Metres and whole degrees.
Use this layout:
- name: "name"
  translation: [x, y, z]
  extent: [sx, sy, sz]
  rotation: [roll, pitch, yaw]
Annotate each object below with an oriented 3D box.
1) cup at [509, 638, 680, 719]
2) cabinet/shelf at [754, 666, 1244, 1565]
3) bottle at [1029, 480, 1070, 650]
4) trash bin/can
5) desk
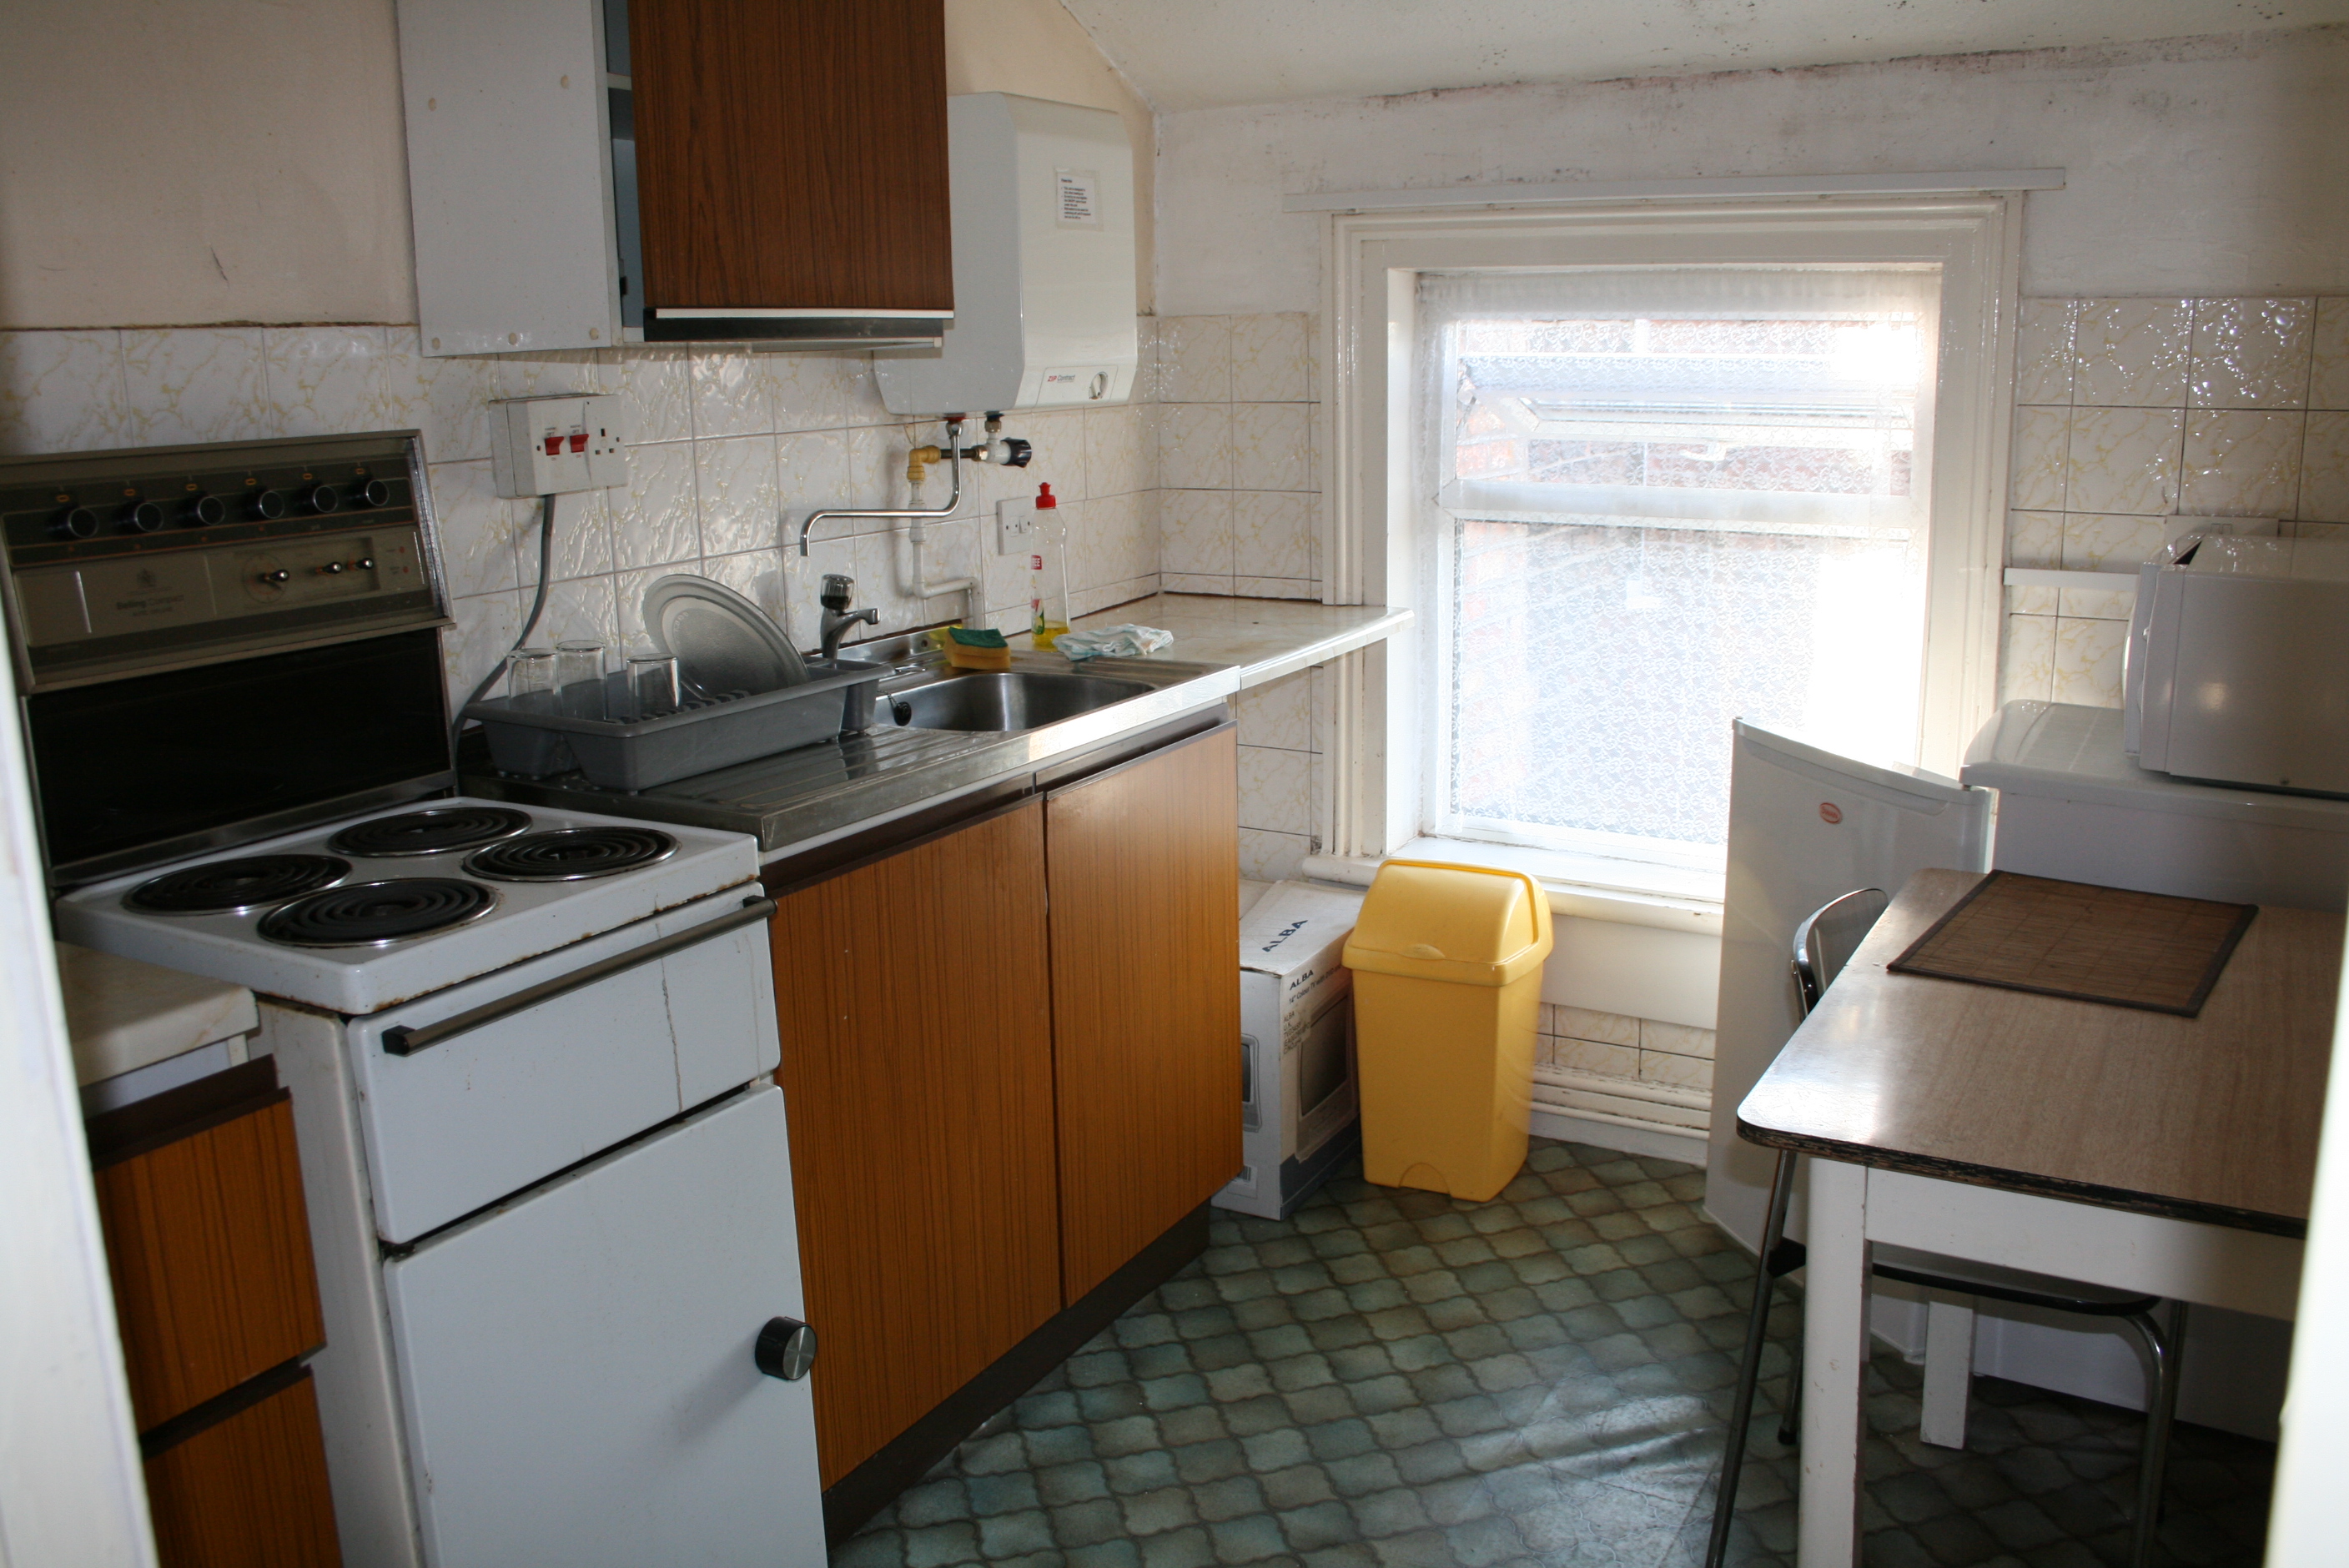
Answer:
- name: "cup"
  translation: [-1.045, -0.200, 3.000]
  extent: [0.303, 0.134, 0.209]
  rotation: [-2, 13, -17]
- name: "cabinet/shelf"
  translation: [-0.514, 0.551, 3.363]
  extent: [0.693, 1.331, 1.433]
  rotation: [7, 15, 33]
- name: "bottle"
  translation: [-0.307, -0.562, 4.032]
  extent: [0.078, 0.332, 0.246]
  rotation: [4, 13, 11]
- name: "trash bin/can"
  translation: [0.663, 0.568, 3.979]
  extent: [0.476, 0.715, 0.441]
  rotation: [5, 11, 36]
- name: "desk"
  translation: [1.283, 0.634, 2.434]
  extent: [0.691, 0.560, 1.190]
  rotation: [3, 15, 22]
